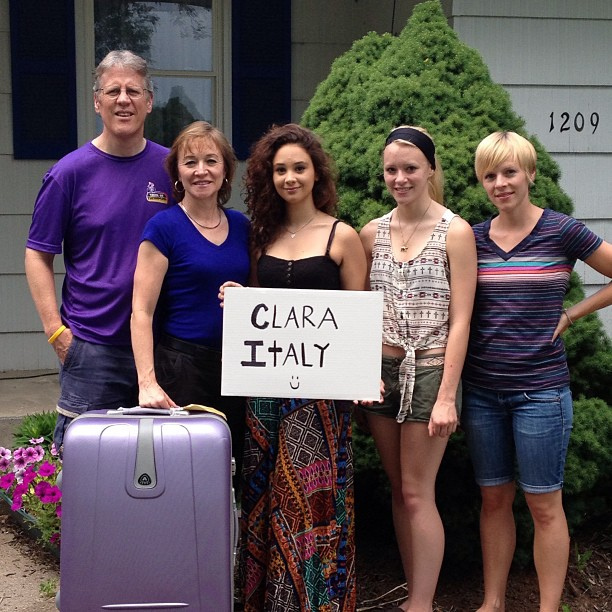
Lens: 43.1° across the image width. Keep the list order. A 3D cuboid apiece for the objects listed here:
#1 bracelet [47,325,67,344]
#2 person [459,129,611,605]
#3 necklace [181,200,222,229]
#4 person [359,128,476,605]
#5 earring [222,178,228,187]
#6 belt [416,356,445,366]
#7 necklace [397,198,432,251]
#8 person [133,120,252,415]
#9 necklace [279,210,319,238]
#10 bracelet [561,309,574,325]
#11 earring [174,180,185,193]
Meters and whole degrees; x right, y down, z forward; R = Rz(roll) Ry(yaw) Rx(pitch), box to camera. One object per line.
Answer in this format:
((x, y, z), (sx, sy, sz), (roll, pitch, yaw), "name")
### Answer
((-0.949, 0.110, 2.961), (0.067, 0.017, 0.070), (-41, 2, -32), "bracelet")
((0.835, 0.270, 2.842), (0.530, 1.800, 0.272), (1, 8, 9), "person")
((-0.380, -0.333, 2.860), (0.152, 0.099, 0.116), (-2, 7, -17), "necklace")
((0.394, 0.233, 2.889), (0.437, 1.747, 0.277), (3, 9, 21), "person")
((-0.301, -0.460, 2.902), (0.006, 0.022, 0.024), (18, -21, 5), "earring")
((0.448, 0.205, 2.811), (0.096, 0.034, 0.013), (0, 8, 5), "belt")
((0.398, -0.295, 2.828), (0.072, 0.202, 0.031), (13, -26, 20), "necklace")
((-0.414, -0.123, 2.777), (0.354, 1.079, 0.527), (1, 8, 12), "person")
((-0.026, -0.298, 2.876), (0.141, 0.092, 0.058), (0, 8, -1), "necklace")
((0.938, 0.041, 2.791), (0.017, 0.045, 0.043), (-33, -35, 13), "bracelet")
((-0.479, -0.451, 2.930), (0.033, 0.044, 0.026), (-2, 8, -11), "earring")
